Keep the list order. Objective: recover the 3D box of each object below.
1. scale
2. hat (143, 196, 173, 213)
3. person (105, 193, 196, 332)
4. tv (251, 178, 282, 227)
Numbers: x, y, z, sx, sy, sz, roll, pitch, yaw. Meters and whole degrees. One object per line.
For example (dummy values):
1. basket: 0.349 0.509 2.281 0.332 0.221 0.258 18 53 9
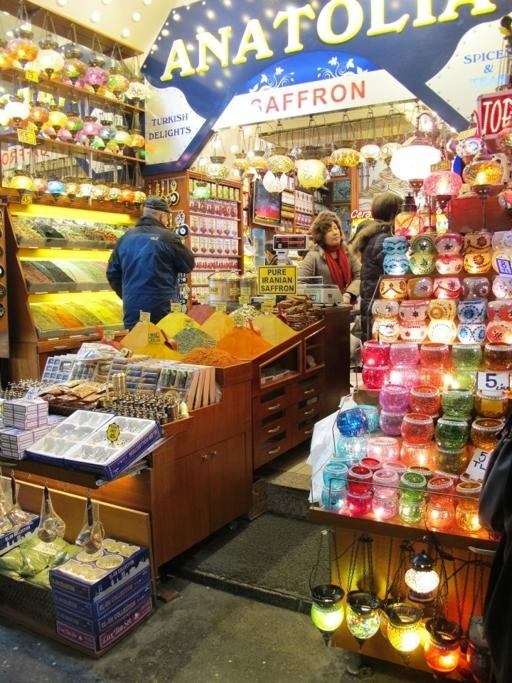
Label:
1. scale: 0.353 -0.588 4.678 0.334 0.490 0.592 9 -4 38
2. hat: -0.771 -1.078 4.090 0.133 0.127 0.169 23 27 33
3. person: -0.826 -0.607 4.109 0.502 1.003 0.552 -9 9 -43
4. tv: 0.128 -2.217 8.437 0.131 0.560 0.993 3 9 23
